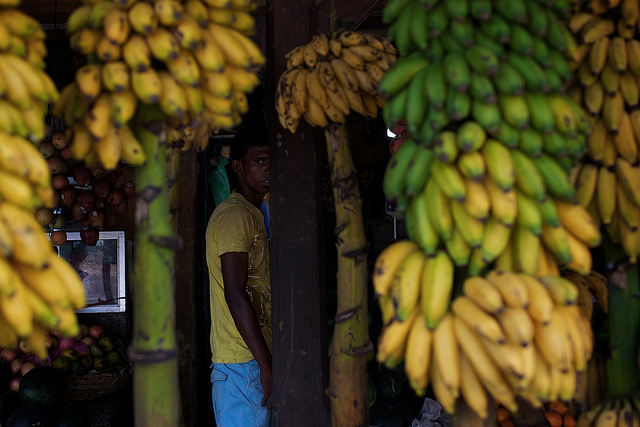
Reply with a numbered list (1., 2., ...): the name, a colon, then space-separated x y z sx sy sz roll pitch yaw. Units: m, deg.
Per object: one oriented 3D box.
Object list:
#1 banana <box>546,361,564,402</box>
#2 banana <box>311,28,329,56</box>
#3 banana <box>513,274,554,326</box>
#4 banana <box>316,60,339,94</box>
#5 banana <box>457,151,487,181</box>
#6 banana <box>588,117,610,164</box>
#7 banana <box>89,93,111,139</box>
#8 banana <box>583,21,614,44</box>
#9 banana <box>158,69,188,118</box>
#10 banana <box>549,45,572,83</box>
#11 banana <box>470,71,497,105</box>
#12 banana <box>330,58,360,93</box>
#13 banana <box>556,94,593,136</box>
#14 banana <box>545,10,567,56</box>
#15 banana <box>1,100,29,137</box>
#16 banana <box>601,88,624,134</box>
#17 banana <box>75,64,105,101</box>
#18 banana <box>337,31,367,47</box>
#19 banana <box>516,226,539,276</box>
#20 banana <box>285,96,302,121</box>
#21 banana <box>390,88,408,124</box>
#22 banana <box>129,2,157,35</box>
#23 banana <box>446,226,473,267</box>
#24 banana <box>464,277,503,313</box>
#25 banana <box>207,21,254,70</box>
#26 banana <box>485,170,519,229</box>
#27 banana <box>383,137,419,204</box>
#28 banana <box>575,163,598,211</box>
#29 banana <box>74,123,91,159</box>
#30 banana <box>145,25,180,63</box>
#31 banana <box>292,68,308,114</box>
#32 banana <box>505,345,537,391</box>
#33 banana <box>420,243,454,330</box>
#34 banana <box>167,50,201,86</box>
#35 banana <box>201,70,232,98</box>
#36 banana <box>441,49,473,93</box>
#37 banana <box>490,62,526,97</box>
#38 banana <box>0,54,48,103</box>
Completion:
1. banana: 0.799 0.574 2.306 0.040 0.170 0.051 0 -2 -33
2. banana: 0.001 -0.698 2.815 0.062 0.134 0.045 -24 -44 7
3. banana: 0.746 0.292 2.387 0.090 0.194 0.103 10 -46 -38
4. banana: 0.033 -0.545 2.777 0.067 0.143 0.045 -21 -7 7
5. banana: 0.529 -0.162 2.383 0.071 0.110 0.066 -34 -29 9
6. banana: 1.111 -0.294 2.712 0.055 0.210 0.064 17 -15 -12
7. banana: -0.754 -0.332 2.340 0.058 0.197 0.053 12 -36 -16
8. banana: 1.108 -0.736 2.715 0.119 0.076 0.044 -36 -7 -13
9. banana: -0.516 -0.415 2.388 0.076 0.173 0.076 -6 -16 -18
10. banana: 0.859 -0.541 2.441 0.036 0.138 0.048 -31 -10 -35
11. banana: 0.557 -0.434 2.373 0.056 0.169 0.049 26 -61 -27
12. banana: 0.106 -0.554 2.721 0.075 0.156 0.053 -34 -2 -33
13. banana: 0.924 -0.356 2.471 0.051 0.192 0.063 -24 -15 -41
14. banana: 0.844 -0.647 2.436 0.044 0.174 0.056 -26 -21 39
15. banana: -1.004 -0.317 2.259 0.038 0.142 0.038 -20 9 36
16. banana: 1.158 -0.405 2.684 0.059 0.207 0.064 17 -15 -12
17. banana: -0.796 -0.457 2.359 0.081 0.156 0.074 30 -51 -31
18. banana: 0.131 -0.717 2.773 0.093 0.059 0.033 4 -12 6
19. banana: 0.731 0.134 2.388 0.063 0.197 0.055 -2 -10 -32
20. banana: -0.107 -0.432 2.807 0.050 0.099 0.031 -19 -1 13
21. banana: 0.279 -0.382 2.407 0.036 0.153 0.047 14 -5 20
22. banana: -0.610 -0.682 2.366 0.077 0.113 0.059 -21 -6 -18
23. banana: 0.492 0.122 2.401 0.081 0.181 0.062 -11 -57 7
24. banana: 0.573 0.289 2.369 0.075 0.139 0.068 -42 -42 -3
25. banana: -0.329 -0.607 2.469 0.052 0.191 0.061 -39 -5 -47
26. banana: 0.628 -0.035 2.395 0.066 0.205 0.091 -30 -27 33
27. banana: 0.292 -0.159 2.425 0.125 0.213 0.081 -1 0 10
28. banana: 1.046 -0.098 2.671 0.045 0.173 0.054 15 -19 -13
29. banana: -0.830 -0.255 2.388 0.042 0.175 0.054 -1 -23 -12
30. banana: -0.543 -0.593 2.385 0.069 0.138 0.072 -39 -5 -12
31. banana: -0.077 -0.512 2.784 0.064 0.179 0.063 -1 0 -13
32. banana: 0.689 0.518 2.309 0.080 0.165 0.042 12 -13 -11
33. banana: 0.413 0.257 2.402 0.106 0.343 0.103 -7 -43 21
34. banana: -0.472 -0.507 2.401 0.075 0.135 0.077 -46 -33 2
35. banana: -0.370 -0.471 2.491 0.114 0.073 0.069 25 -1 9
36. banana: 0.478 -0.502 2.350 0.079 0.159 0.054 -5 -33 -17
37. banana: 0.659 -0.462 2.358 0.071 0.145 0.048 -23 -37 -2
38. banana: -0.968 -0.454 2.278 0.077 0.238 0.066 -42 -10 33
